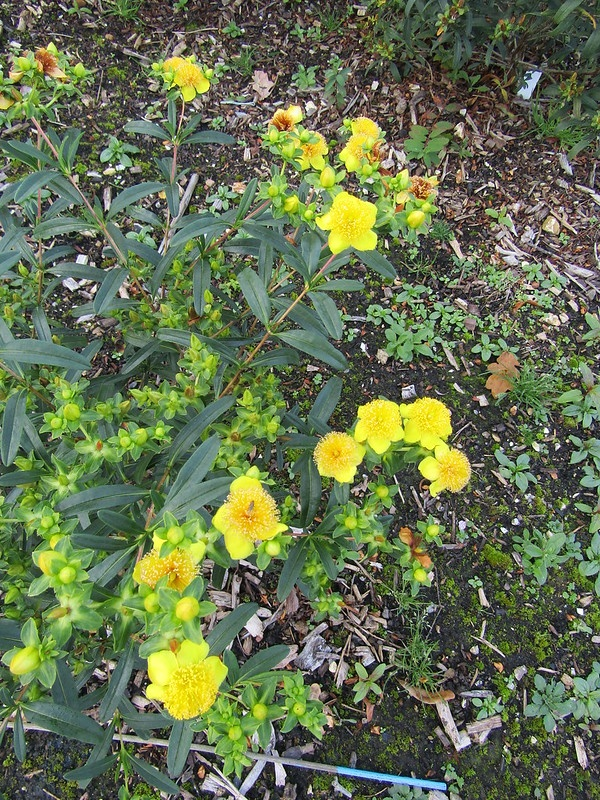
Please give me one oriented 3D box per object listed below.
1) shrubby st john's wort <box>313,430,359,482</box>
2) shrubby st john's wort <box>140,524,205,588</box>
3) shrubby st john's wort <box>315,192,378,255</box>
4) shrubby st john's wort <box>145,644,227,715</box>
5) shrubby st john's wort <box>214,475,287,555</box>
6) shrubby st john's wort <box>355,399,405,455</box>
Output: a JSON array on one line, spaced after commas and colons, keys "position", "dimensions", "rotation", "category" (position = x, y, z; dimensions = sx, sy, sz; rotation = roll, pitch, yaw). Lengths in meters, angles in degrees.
[{"position": [0.119, 0.178, 2.012], "dimensions": [0.147, 0.152, 0.150], "rotation": [7, -1, 18], "category": "shrubby st john's wort"}, {"position": [-0.349, 0.406, 1.608], "dimensions": [0.150, 0.081, 0.154], "rotation": [31, 86, 14], "category": "shrubby st john's wort"}, {"position": [0.158, -0.555, 1.928], "dimensions": [0.191, 0.148, 0.144], "rotation": [0, 46, -24], "category": "shrubby st john's wort"}, {"position": [-0.278, 0.658, 1.475], "dimensions": [0.180, 0.136, 0.144], "rotation": [25, 41, 2], "category": "shrubby st john's wort"}, {"position": [-0.135, 0.307, 1.631], "dimensions": [0.222, 0.108, 0.229], "rotation": [1, 34, -22], "category": "shrubby st john's wort"}, {"position": [0.258, 0.058, 1.956], "dimensions": [0.153, 0.076, 0.156], "rotation": [7, 48, 13], "category": "shrubby st john's wort"}]
